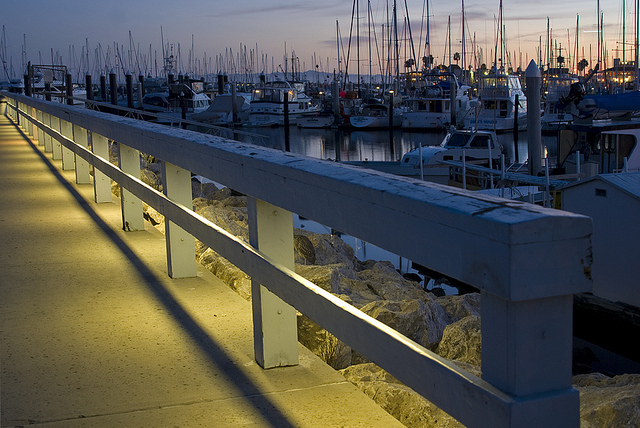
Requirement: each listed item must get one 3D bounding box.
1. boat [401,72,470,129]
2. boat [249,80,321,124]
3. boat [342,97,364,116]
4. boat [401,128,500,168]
[{"bbox_3d":[12.745,-12.047,69.228,7.299,7.178,7.909,-1,10,10],"label":"boat"},{"bbox_3d":[-3.877,-14.047,76.553,3.678,4.123,8.880,9,20,28],"label":"boat"},{"bbox_3d":[4.343,-13.957,81.133,3.045,2.007,2.147,4,13,38],"label":"boat"},{"bbox_3d":[5.182,-2.473,24.351,3.392,1.314,7.844,5,15,17],"label":"boat"}]
